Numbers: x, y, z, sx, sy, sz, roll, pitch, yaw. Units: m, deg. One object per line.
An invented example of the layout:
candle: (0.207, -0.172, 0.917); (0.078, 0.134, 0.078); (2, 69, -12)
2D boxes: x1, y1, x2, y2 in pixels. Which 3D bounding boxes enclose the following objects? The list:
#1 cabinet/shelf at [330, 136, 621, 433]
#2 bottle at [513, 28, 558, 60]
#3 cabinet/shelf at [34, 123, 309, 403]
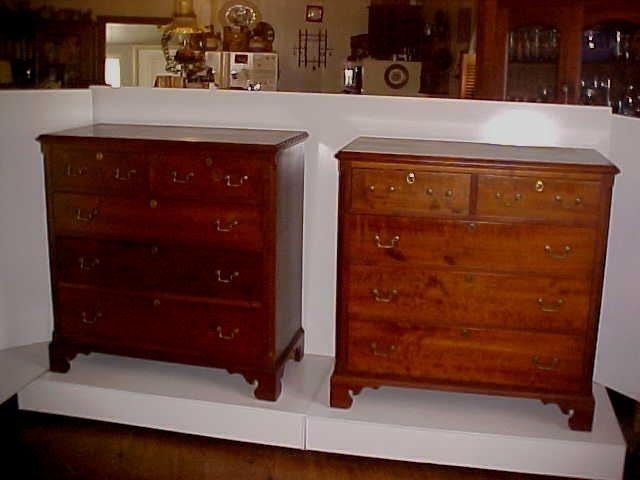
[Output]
cabinet/shelf: (0.687, 0.165, 2.744); (1.181, 1.182, 0.700); (2, 14, 8)
bottle: (1.411, -1.278, 3.690); (0.234, 0.165, 0.143); (3, 16, 8)
cabinet/shelf: (-0.693, 0.124, 2.637); (1.127, 1.165, 0.591); (3, 13, 12)
